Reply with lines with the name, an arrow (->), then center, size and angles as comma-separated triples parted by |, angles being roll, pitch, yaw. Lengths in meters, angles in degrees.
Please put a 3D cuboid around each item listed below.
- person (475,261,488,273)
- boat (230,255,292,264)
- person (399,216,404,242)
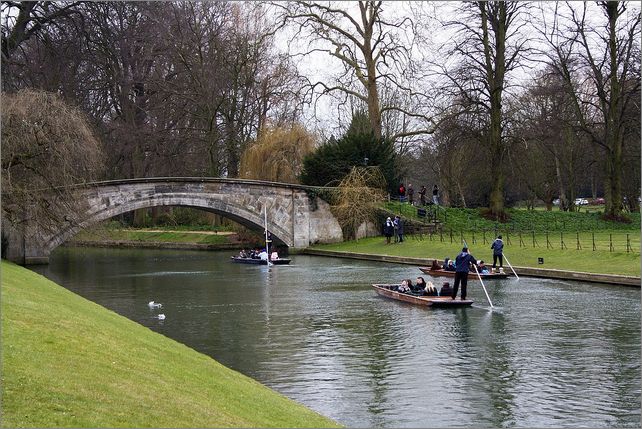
person -> 10.364, 3.395, 56.419 | 0.946, 0.438, 0.732 | 17, -9, 38
boat -> -4.737, 3.539, 68.106 | 5.688, 0.786, 1.860 | -5, -6, 40
person -> 6.641, 1.301, 73.347 | 0.362, 1.911, 0.870 | -1, -4, 4
